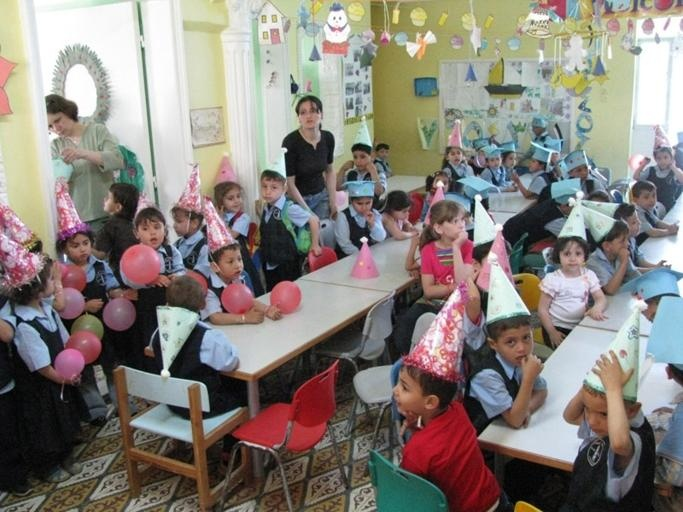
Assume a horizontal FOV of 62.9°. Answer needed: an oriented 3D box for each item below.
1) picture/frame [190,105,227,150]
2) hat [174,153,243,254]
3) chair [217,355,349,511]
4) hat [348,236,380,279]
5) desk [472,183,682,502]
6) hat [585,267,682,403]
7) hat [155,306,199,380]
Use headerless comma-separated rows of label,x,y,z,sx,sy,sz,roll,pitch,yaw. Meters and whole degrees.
picture/frame,-1.284,-1.261,5.381,0.022,0.357,0.444,10,20,29
hat,-1.074,-0.418,4.457,0.498,0.864,0.457,13,45,9
chair,-0.334,1.042,3.149,0.549,0.926,0.519,12,19,25
hat,0.168,0.021,4.140,0.203,0.267,0.168,-7,32,-3
desk,1.243,0.432,2.912,0.440,0.409,1.762,10,30,23
hat,1.398,0.388,2.666,0.390,0.640,0.462,15,-16,-22
hat,-0.881,0.458,2.881,0.229,0.342,0.203,3,-21,5
